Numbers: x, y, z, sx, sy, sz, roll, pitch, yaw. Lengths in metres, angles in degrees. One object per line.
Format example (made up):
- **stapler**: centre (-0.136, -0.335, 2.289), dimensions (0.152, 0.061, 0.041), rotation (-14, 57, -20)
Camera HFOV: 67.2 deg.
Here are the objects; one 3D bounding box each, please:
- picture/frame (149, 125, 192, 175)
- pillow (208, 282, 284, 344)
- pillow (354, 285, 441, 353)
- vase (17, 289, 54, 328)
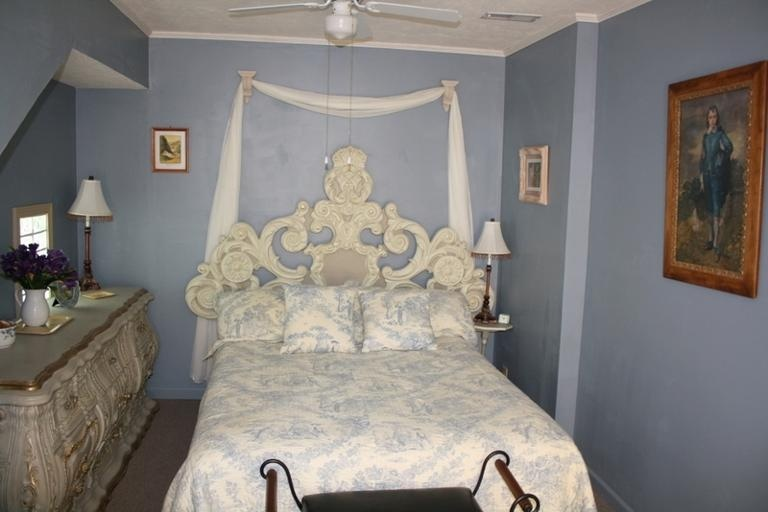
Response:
- **picture/frame**: centre (-2.258, -1.138, 6.095), dimensions (0.473, 0.632, 0.041), rotation (0, 4, -12)
- **pillow**: centre (-1.275, 0.590, 5.761), dimensions (0.824, 0.276, 0.922), rotation (-11, 30, -8)
- **pillow**: centre (0.114, 0.630, 5.482), dimensions (0.572, 0.583, 0.182), rotation (-1, -17, -6)
- **vase**: centre (-2.793, 0.407, 4.663), dimensions (0.221, 0.284, 0.194), rotation (3, 8, -16)
